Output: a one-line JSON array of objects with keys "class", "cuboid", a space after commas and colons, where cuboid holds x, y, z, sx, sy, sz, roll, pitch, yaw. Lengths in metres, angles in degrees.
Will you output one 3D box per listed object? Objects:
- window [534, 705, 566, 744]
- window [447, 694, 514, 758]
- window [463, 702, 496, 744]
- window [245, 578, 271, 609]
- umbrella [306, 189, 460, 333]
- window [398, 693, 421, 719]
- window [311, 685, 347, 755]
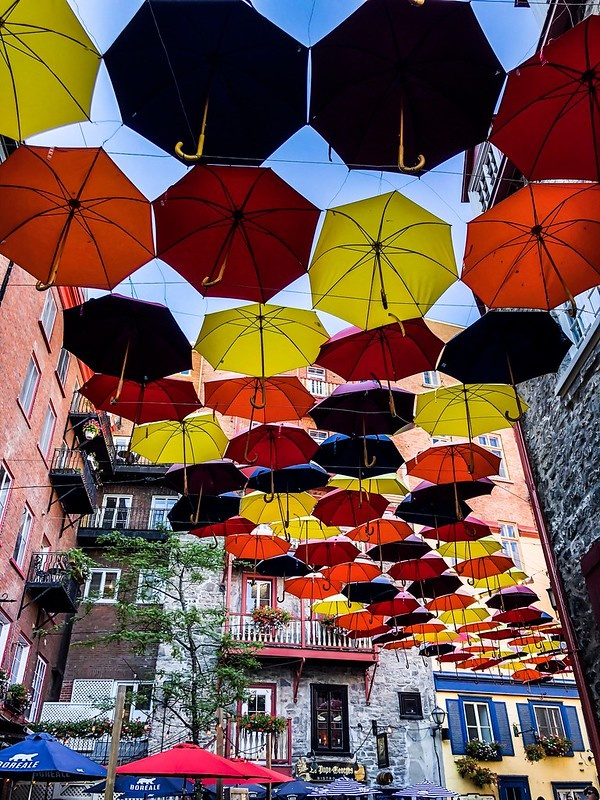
[{"class": "window", "cuboid": [8.659, 11.276, 21.053, 1.030, 1.183, 0.076, 14, -41, -22]}, {"class": "window", "cuboid": [5.855, 10.722, 19.877, 1.992, 1.722, 0.259, 13, -45, -13]}, {"class": "window", "cuboid": [5.895, 10.686, 20.003, 1.084, 1.245, 0.096, 17, -48, -20]}, {"class": "window", "cuboid": [-1.365, 6.079, 19.023, 0.827, 0.956, 0.065, 21, -52, -26]}, {"class": "umbrella", "cuboid": [0.941, -1.412, 7.060, 1.388, 1.391, 0.920, 14, -42, 20]}, {"class": "window", "cuboid": [3.437, 9.665, 19.163, 0.652, 0.736, 0.083, 13, -45, -16]}, {"class": "window", "cuboid": [0.887, 9.484, 18.097, 1.072, 1.838, 0.141, -2, -6, 8]}]
